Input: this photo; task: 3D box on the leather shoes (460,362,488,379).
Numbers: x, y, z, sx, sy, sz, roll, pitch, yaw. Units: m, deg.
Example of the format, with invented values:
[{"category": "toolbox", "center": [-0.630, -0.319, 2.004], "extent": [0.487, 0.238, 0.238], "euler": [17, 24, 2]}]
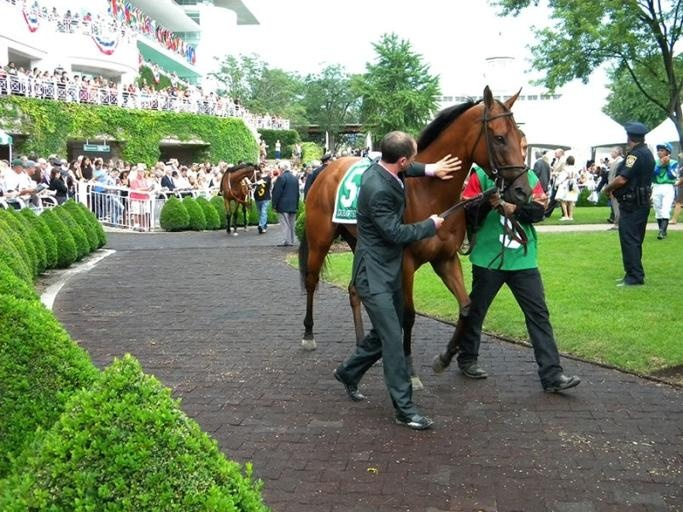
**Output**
[{"category": "leather shoes", "center": [1.284, 1.121, 5.696], "extent": [0.278, 0.126, 0.125], "euler": [3, 4, 43]}]

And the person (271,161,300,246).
[{"category": "person", "center": [-1.463, -1.365, 15.395], "extent": [0.717, 2.212, 1.014], "euler": [-3, 10, -6]}]

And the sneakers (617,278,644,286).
[{"category": "sneakers", "center": [4.356, 0.407, 8.762], "extent": [0.249, 0.092, 0.165], "euler": [-2, 2, 10]}]

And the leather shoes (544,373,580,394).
[{"category": "leather shoes", "center": [1.942, 1.128, 5.162], "extent": [0.273, 0.198, 0.252], "euler": [1, 10, 16]}]

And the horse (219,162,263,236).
[{"category": "horse", "center": [-3.442, -1.947, 19.451], "extent": [1.175, 2.276, 2.110], "euler": [-4, 10, -11]}]

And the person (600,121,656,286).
[{"category": "person", "center": [4.372, -0.780, 8.912], "extent": [0.737, 2.370, 0.783], "euler": [4, 8, 42]}]

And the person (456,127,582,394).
[{"category": "person", "center": [1.558, 0.089, 5.305], "extent": [1.073, 2.262, 0.711], "euler": [2, 11, 23]}]

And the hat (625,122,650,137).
[{"category": "hat", "center": [4.224, -1.808, 8.342], "extent": [0.378, 0.197, 0.288], "euler": [-1, 10, 4]}]

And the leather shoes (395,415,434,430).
[{"category": "leather shoes", "center": [0.577, 1.286, 4.611], "extent": [0.241, 0.099, 0.130], "euler": [0, 4, 25]}]

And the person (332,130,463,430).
[{"category": "person", "center": [0.492, 0.151, 4.836], "extent": [0.892, 2.328, 0.805], "euler": [6, 13, 40]}]

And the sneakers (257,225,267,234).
[{"category": "sneakers", "center": [-2.593, -0.844, 19.100], "extent": [0.179, 0.230, 0.535], "euler": [-2, -2, 2]}]
